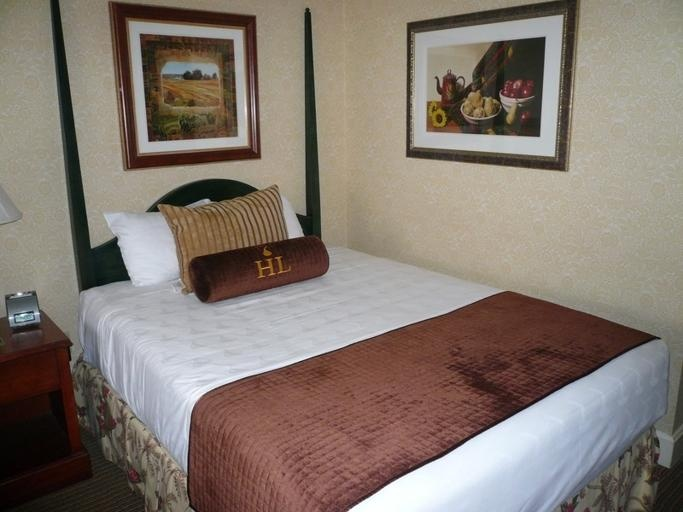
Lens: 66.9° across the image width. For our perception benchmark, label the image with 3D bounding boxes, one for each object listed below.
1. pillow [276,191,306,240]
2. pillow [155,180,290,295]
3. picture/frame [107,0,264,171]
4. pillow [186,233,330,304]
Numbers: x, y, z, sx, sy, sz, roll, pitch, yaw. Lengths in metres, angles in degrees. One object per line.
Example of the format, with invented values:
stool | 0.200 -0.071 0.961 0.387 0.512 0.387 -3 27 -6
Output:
pillow | -0.363 -0.278 3.748 0.082 0.269 0.287 -24 -12 14
pillow | -0.756 -0.090 3.222 0.681 0.427 0.213 -14 -3 -40
picture/frame | -1.124 -1.205 3.583 1.189 1.212 0.047 -9 16 -36
pillow | -0.485 0.064 3.077 0.908 0.344 0.342 -11 14 -33
